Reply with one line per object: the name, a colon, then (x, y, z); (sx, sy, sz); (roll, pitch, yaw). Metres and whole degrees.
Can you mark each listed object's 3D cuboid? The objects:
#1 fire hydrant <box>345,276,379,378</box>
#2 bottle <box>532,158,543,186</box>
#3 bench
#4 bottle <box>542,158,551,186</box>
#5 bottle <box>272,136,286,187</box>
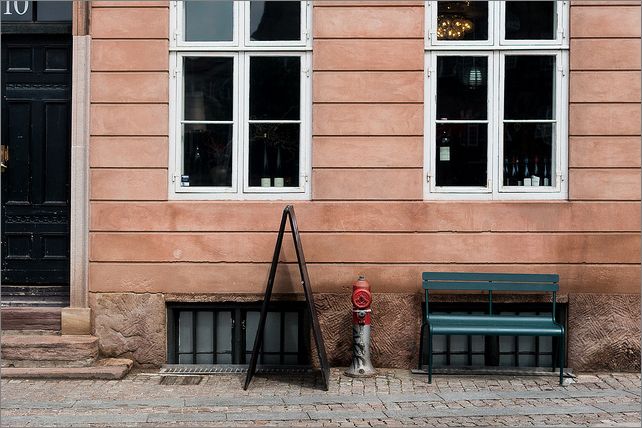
fire hydrant: (0.520, 1.543, 13.419); (0.405, 1.374, 0.287); (0, -3, 2)
bottle: (3.033, -0.607, 13.926); (0.134, 0.412, 0.018); (0, -3, -3)
bench: (2.372, 1.547, 13.625); (1.673, 1.100, 0.629); (0, -4, 1)
bottle: (3.181, -0.612, 13.931); (0.071, 0.402, 0.024); (0, -3, 11)
bottle: (-0.631, -0.716, 13.967); (0.144, 0.646, 0.020); (0, -3, 5)
